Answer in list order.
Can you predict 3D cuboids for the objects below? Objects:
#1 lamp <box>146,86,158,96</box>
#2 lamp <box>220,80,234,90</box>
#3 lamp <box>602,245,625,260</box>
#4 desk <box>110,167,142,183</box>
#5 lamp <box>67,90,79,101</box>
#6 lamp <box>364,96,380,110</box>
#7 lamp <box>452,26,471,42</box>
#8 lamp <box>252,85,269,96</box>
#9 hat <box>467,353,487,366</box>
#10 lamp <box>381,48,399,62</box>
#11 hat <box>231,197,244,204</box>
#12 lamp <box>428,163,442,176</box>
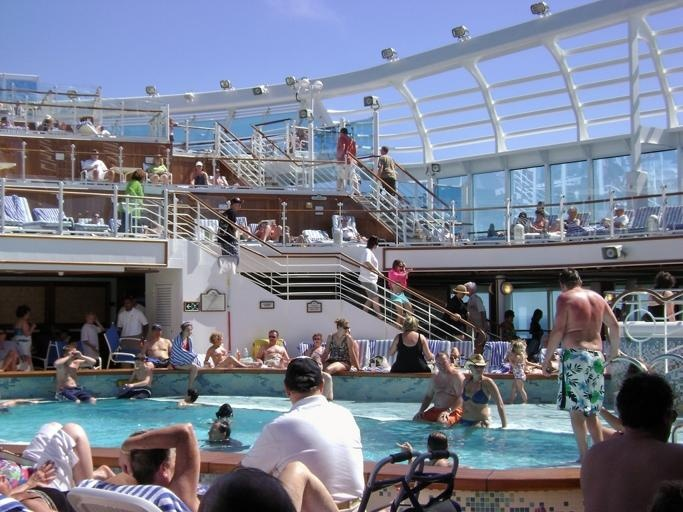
[{"bbox_3d":[-6.845,-5.914,31.530,0.320,0.354,0.142,-4,1,14],"label":"lamp"},{"bbox_3d":[-4.057,-6.007,30.774,0.265,0.378,0.372,16,23,35],"label":"lamp"},{"bbox_3d":[6.187,-0.073,19.926,0.469,0.319,0.290,0,-4,19],"label":"lamp"},{"bbox_3d":[-5.633,-2.077,22.698,0.612,0.266,0.661,2,2,5],"label":"desk"},{"bbox_3d":[-7.483,-4.466,24.290,0.318,0.315,0.221,17,-7,-38],"label":"lamp"},{"bbox_3d":[0.861,-4.621,26.609,0.385,0.484,0.506,1,-5,-26],"label":"lamp"},{"bbox_3d":[3.625,-6.783,26.616,0.551,0.506,0.672,0,-4,7],"label":"lamp"},{"bbox_3d":[-2.822,-5.707,30.355,0.343,0.282,0.615,1,10,-1],"label":"lamp"},{"bbox_3d":[2.301,1.784,14.885,0.311,0.189,0.200,1,-4,-1],"label":"hat"},{"bbox_3d":[1.542,-6.635,28.652,0.493,0.529,0.603,-1,-4,22],"label":"lamp"},{"bbox_3d":[-2.464,-1.288,20.693,0.304,0.256,0.283,-3,7,-22],"label":"hat"},{"bbox_3d":[2.991,-2.769,28.136,0.298,0.399,0.548,0,2,-27],"label":"lamp"}]
